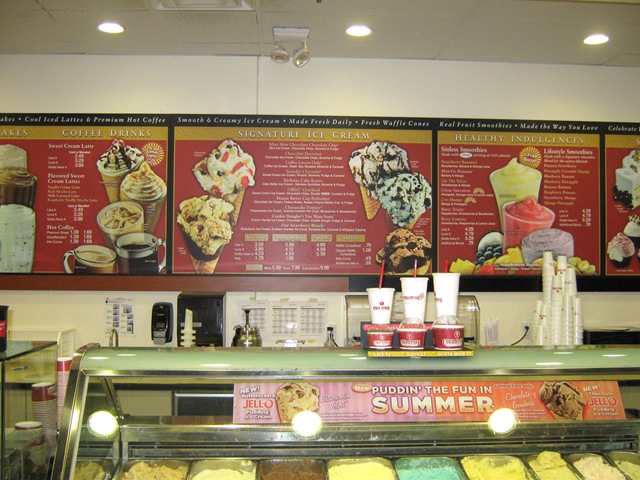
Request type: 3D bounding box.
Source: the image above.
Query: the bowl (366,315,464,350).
[{"bbox_3d":[0.382,0.394,2.304,0.424,0.114,0.133,-2,-5,1],"label":"bowl"}]

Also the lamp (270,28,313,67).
[{"bbox_3d":[-0.195,-1.320,3.777,0.252,0.184,0.113,0,13,-2],"label":"lamp"}]
